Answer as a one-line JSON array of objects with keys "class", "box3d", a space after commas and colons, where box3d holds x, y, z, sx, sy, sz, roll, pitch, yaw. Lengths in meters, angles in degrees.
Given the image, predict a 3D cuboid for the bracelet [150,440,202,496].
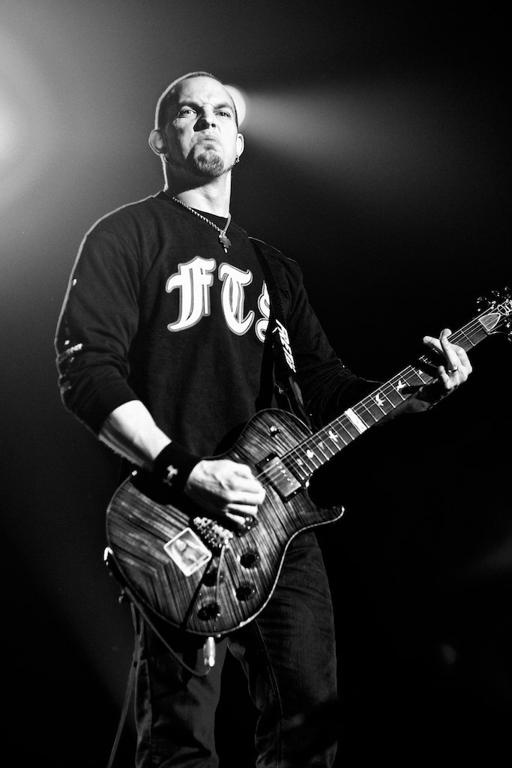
[{"class": "bracelet", "box3d": [-0.195, 0.204, 1.766, 0.109, 0.109, 0.063, -4, 18, 18]}]
